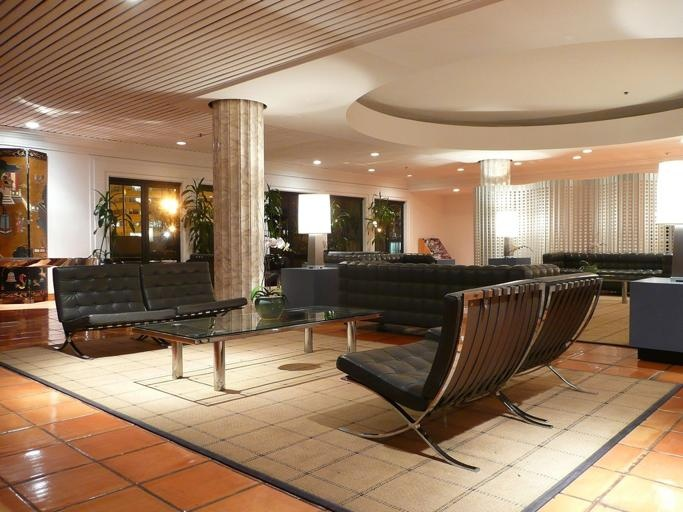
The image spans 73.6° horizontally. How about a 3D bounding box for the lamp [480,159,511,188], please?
[{"bbox_3d":[4.193,-2.170,11.870,0.838,0.591,0.772,-4,8,-33],"label":"lamp"}]
